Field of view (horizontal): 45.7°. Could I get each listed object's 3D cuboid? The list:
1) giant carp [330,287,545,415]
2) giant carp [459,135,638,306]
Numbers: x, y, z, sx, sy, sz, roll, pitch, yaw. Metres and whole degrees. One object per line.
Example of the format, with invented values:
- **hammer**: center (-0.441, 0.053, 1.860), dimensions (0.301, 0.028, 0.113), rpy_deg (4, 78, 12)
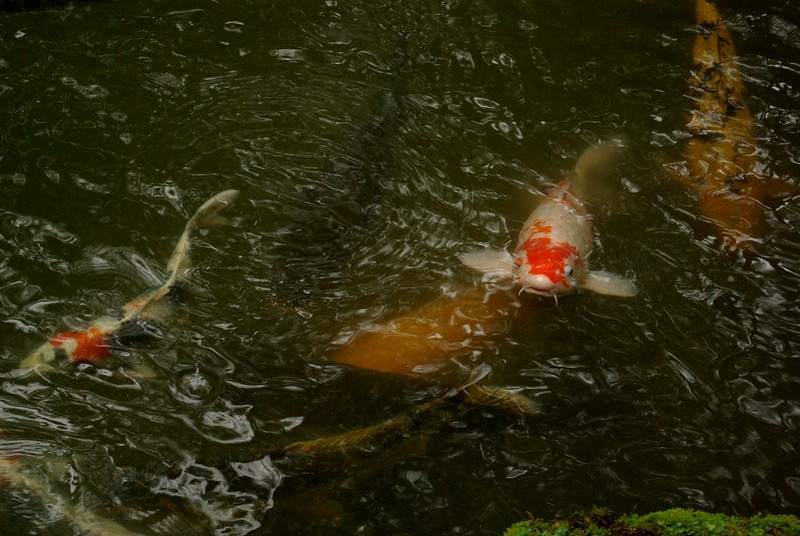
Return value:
- **giant carp**: center (0.258, 0.552, 7.417), dimensions (1.416, 0.328, 0.837), rpy_deg (-2, 41, -6)
- **giant carp**: center (1.407, -0.358, 7.750), dimensions (1.172, 0.527, 1.411), rpy_deg (16, 52, 28)
